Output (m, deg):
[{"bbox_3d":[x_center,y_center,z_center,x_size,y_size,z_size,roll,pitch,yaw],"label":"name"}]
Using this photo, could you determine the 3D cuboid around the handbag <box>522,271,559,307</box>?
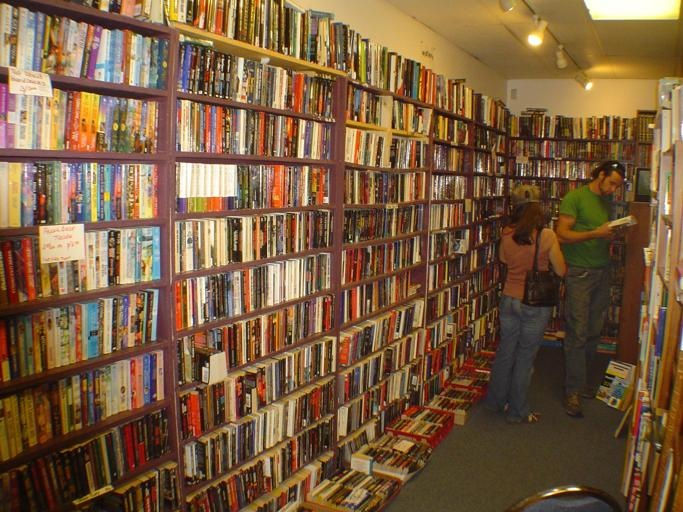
[{"bbox_3d":[1.668,0.277,4.534,0.281,0.342,0.136,0,1,-4],"label":"handbag"}]

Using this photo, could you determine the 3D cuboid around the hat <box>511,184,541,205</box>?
[{"bbox_3d":[1.587,-0.536,4.625,0.159,0.148,0.261,-6,12,17],"label":"hat"}]
